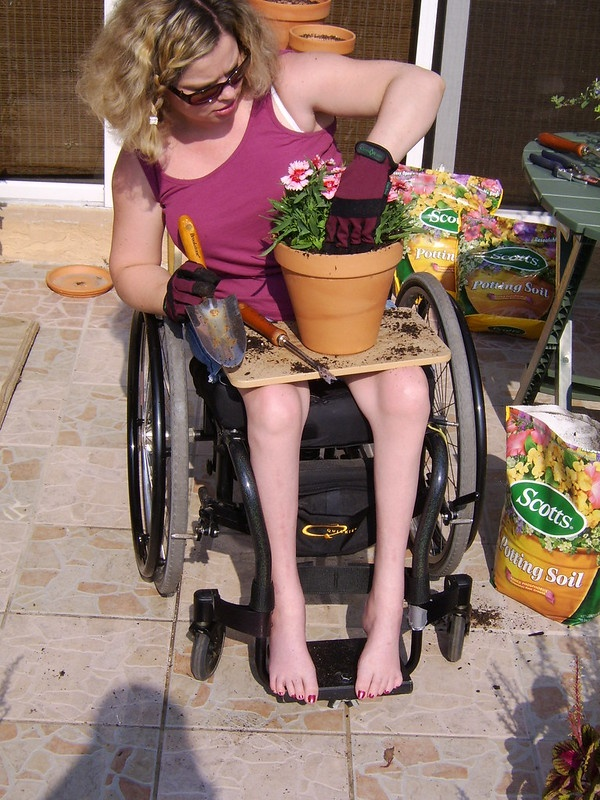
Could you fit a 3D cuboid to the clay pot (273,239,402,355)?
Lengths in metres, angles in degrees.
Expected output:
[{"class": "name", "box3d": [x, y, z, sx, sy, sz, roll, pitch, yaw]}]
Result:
[{"class": "clay pot", "box3d": [0.053, -0.186, 1.263, 0.197, 0.145, 0.195, -2, 25, 1]}]

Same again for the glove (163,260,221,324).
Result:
[{"class": "glove", "box3d": [-0.197, -0.179, 1.214, 0.040, 0.107, 0.081, 43, 34, 2]}]

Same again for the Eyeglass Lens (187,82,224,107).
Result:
[{"class": "Eyeglass Lens", "box3d": [-0.157, -0.509, 1.171, 0.069, 0.040, 0.033, -3, 31, -7]}]

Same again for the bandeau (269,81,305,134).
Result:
[{"class": "bandeau", "box3d": [-0.028, -0.558, 1.339, 0.068, 0.077, 0.020, -13, 14, -19]}]

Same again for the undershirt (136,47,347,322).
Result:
[{"class": "undershirt", "box3d": [-0.057, -0.494, 1.537, 0.353, 0.557, 0.441, -21, 36, 0]}]

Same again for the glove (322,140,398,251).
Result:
[{"class": "glove", "box3d": [0.100, -0.336, 1.166, 0.096, 0.156, 0.138, 9, 32, 13]}]

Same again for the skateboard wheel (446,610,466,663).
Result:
[{"class": "skateboard wheel", "box3d": [0.347, 0.516, 1.536, 0.047, 0.105, 0.042, 2, -12, 34]}]
